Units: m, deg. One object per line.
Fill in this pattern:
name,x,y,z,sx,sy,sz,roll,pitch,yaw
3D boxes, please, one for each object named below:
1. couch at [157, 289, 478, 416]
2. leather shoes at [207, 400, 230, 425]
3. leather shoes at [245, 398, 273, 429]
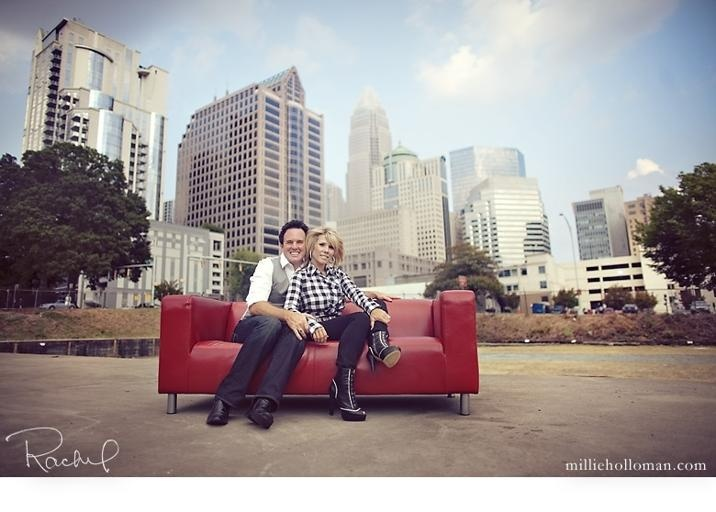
couch,-0.377,1.098,5.457,3.210,1.407,1.408,-2,-16,5
leather shoes,-1.348,1.507,4.607,0.213,0.241,0.140,1,-6,-22
leather shoes,-0.911,1.494,4.541,0.259,0.285,0.206,-1,-6,-1
